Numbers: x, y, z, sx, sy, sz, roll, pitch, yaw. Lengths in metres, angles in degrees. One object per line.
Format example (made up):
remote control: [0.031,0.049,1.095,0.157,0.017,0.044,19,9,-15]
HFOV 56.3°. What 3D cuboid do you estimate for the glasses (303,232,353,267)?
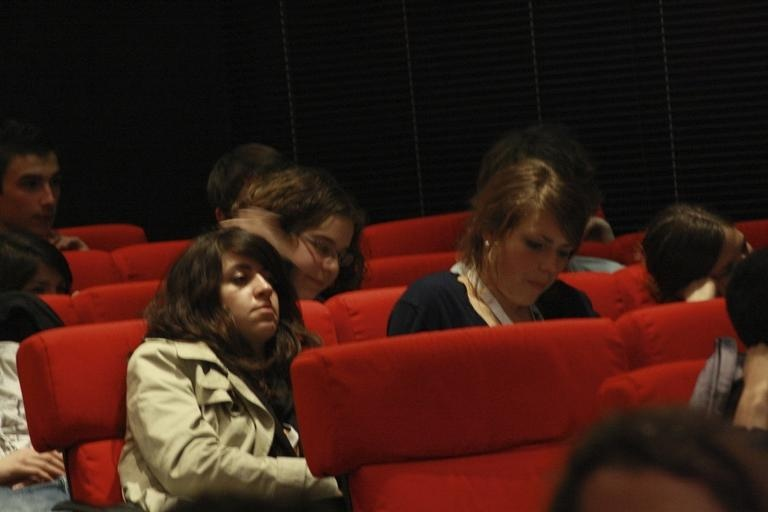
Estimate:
glasses: [-0.105,-0.008,1.480,0.064,0.021,0.064,30,7,31]
